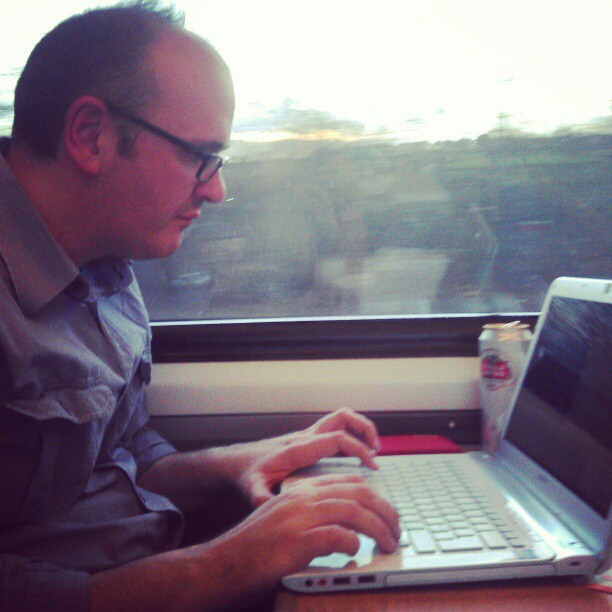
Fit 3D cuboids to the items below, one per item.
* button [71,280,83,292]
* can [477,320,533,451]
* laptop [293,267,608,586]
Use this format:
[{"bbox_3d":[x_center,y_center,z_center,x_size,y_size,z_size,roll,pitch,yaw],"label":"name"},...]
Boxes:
[{"bbox_3d":[-0.320,-0.027,0.967,0.013,0.014,0.003,-35,15,2],"label":"button"},{"bbox_3d":[0.315,0.122,1.178,0.101,0.216,0.102,3,16,-1],"label":"can"},{"bbox_3d":[0.182,0.146,0.934,0.344,0.285,0.423,1,1,-3],"label":"laptop"}]
